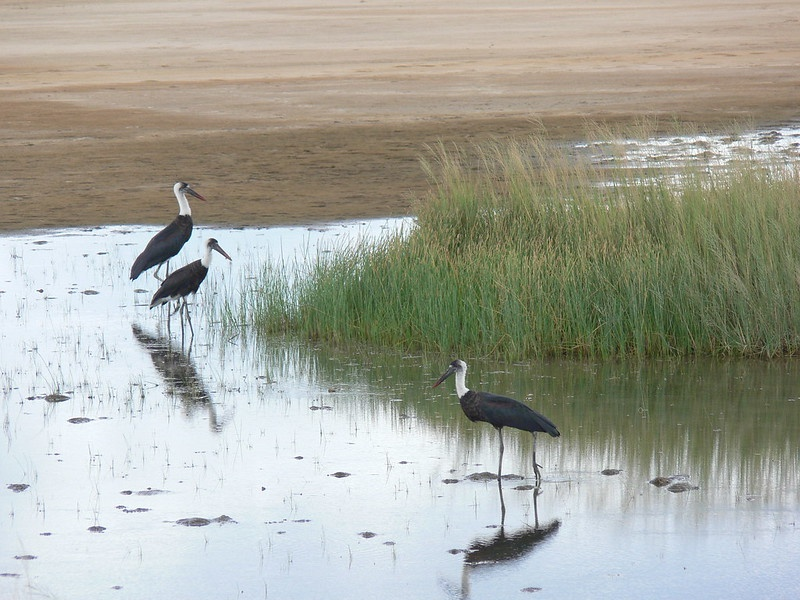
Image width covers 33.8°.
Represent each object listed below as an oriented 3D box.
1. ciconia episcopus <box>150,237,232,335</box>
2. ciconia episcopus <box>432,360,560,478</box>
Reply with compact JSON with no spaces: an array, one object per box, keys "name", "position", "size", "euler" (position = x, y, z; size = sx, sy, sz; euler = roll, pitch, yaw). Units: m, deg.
[{"name":"ciconia episcopus","position":[-3.340,-0.357,20.484],"size":[1.122,1.183,1.525],"euler":[-4,2,-10]},{"name":"ciconia episcopus","position":[1.183,1.351,15.093],"size":[0.896,1.355,1.434],"euler":[-4,3,-20]}]
